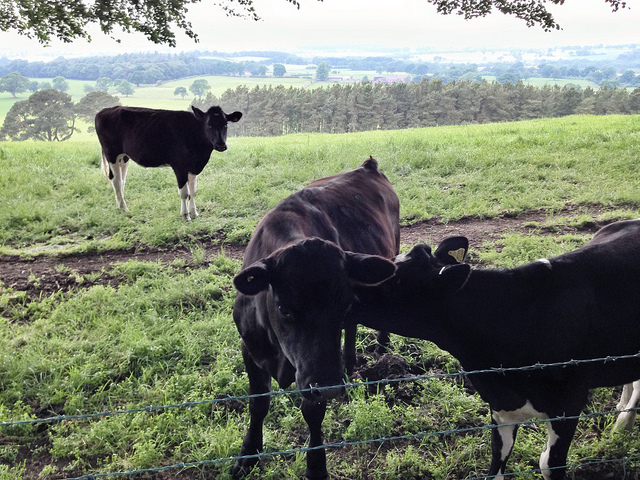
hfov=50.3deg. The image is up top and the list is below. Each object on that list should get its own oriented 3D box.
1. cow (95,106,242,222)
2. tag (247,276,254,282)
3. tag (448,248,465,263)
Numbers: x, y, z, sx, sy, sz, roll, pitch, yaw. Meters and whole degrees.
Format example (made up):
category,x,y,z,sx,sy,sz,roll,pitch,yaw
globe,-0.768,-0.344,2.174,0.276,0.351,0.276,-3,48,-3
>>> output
category,x,y,z,sx,sy,sz,roll,pitch,yaw
cow,-3.167,-1.686,13.688,2.964,2.015,1.285,5,22,20
tag,-0.741,0.413,7.310,0.066,0.053,0.035,-9,21,-17
tag,1.621,0.180,7.977,0.179,0.167,0.043,-10,-1,3
